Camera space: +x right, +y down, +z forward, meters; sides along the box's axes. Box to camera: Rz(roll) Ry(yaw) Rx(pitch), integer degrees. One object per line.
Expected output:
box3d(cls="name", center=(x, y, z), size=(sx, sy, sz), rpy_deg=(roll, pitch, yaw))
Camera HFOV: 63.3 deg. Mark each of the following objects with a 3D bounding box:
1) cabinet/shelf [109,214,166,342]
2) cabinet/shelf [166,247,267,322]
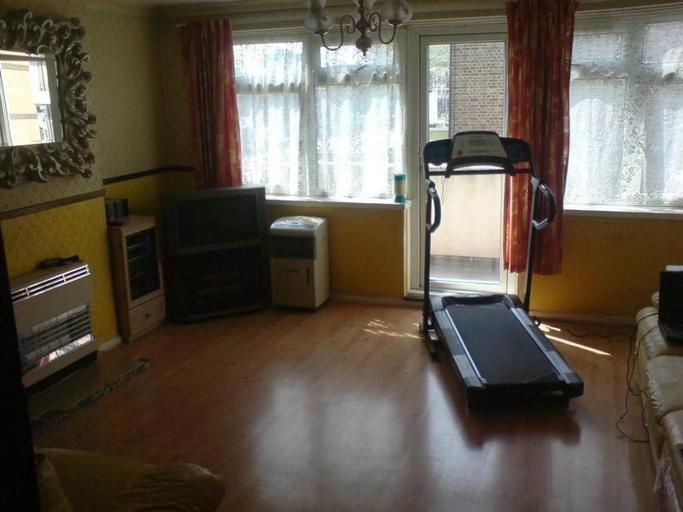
box3d(cls="cabinet/shelf", center=(-1.878, 0.206, 4.993), size=(0.289, 1.004, 0.476), rpy_deg=(6, 16, 23))
box3d(cls="cabinet/shelf", center=(-1.167, 0.262, 5.242), size=(0.852, 0.643, 0.155), rpy_deg=(-7, 18, -17))
